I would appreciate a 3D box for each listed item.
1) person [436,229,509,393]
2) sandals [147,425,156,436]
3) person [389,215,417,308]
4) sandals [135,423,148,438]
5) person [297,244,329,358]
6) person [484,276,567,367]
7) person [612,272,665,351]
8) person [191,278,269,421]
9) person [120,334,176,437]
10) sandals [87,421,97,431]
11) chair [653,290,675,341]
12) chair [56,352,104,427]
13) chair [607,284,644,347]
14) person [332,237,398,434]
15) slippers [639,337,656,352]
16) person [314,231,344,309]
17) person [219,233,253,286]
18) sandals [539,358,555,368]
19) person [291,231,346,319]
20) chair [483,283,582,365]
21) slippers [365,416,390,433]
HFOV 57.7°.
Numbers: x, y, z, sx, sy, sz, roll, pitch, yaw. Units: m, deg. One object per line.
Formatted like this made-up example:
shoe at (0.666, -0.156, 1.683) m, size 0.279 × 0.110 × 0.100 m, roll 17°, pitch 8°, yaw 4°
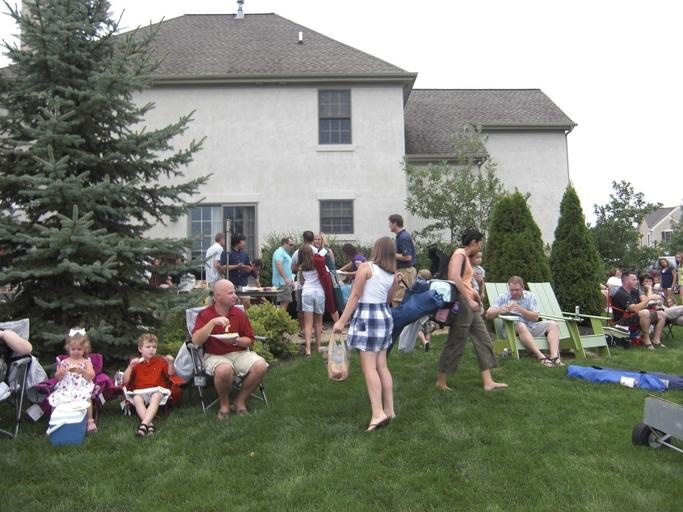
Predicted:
person at (1.759, 0.784, 8.480) m, size 0.868 × 2.169 × 0.809 m, roll -3°, pitch 11°, yaw -9°
sandals at (-2.324, 2.104, 7.591) m, size 0.081 × 0.094 × 0.214 m, roll -2°, pitch 12°, yaw -2°
person at (1.027, 0.284, 11.221) m, size 0.597 × 2.050 × 0.693 m, roll -1°, pitch 8°, yaw 17°
sandals at (-2.422, 2.119, 7.511) m, size 0.100 × 0.086 × 0.274 m, roll 2°, pitch -6°, yaw -13°
person at (-0.465, 0.763, 10.740) m, size 0.512 × 1.850 × 0.470 m, roll -2°, pitch 10°, yaw -3°
person at (2.953, 1.076, 10.170) m, size 0.929 × 1.068 × 1.464 m, roll -3°, pitch 18°, yaw -18°
person at (5.552, 1.024, 11.659) m, size 0.656 × 1.426 × 0.822 m, roll 3°, pitch -9°, yaw -23°
person at (-1.490, 1.191, 8.121) m, size 0.906 × 1.773 × 0.684 m, roll -4°, pitch 11°, yaw -17°
person at (-2.495, 1.584, 7.832) m, size 0.672 × 1.053 × 0.765 m, roll -2°, pitch 11°, yaw -3°
sandals at (-3.045, 2.067, 7.555) m, size 0.103 × 0.109 × 0.125 m, roll -5°, pitch 12°, yaw -18°
chair at (6.379, 1.206, 12.302) m, size 0.435 × 0.767 × 0.317 m, roll -19°, pitch 8°, yaw -17°
chair at (-3.293, 1.576, 7.640) m, size 0.587 × 1.059 × 0.659 m, roll -6°, pitch 12°, yaw -25°
chair at (5.345, 1.158, 11.968) m, size 0.770 × 1.378 × 0.905 m, roll -1°, pitch -4°, yaw 32°
person at (0.333, 0.929, 7.558) m, size 0.632 × 2.243 × 0.844 m, roll 1°, pitch 11°, yaw 9°
slippers at (5.483, 1.588, 11.140) m, size 0.109 × 0.146 × 0.349 m, roll -5°, pitch 1°, yaw -4°
person at (-0.252, 0.306, 11.813) m, size 0.419 × 1.330 × 1.242 m, roll -8°, pitch -17°, yaw 6°
person at (-2.181, 0.394, 12.974) m, size 0.591 × 1.672 × 0.591 m, roll -4°, pitch 10°, yaw -27°
sandals at (3.162, 1.648, 9.574) m, size 0.198 × 0.074 × 0.257 m, roll 2°, pitch 12°, yaw 18°
person at (-0.176, 0.238, 11.144) m, size 0.519 × 1.586 × 1.014 m, roll -24°, pitch 8°, yaw -37°
chair at (3.228, 1.104, 10.525) m, size 0.969 × 1.066 × 1.388 m, roll -3°, pitch 6°, yaw -18°
slippers at (0.431, 1.998, 7.398) m, size 0.305 × 0.129 × 0.082 m, roll -19°, pitch 55°, yaw -38°
